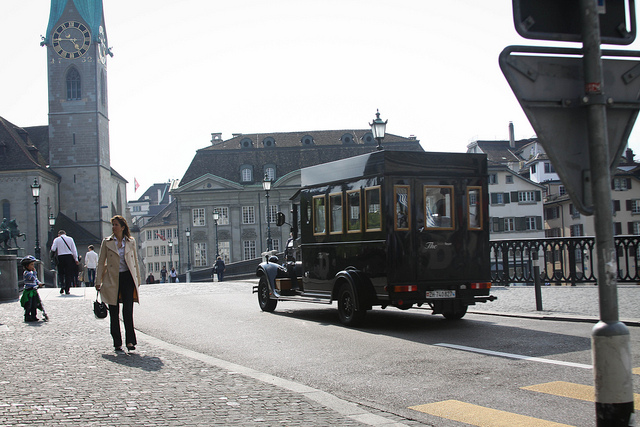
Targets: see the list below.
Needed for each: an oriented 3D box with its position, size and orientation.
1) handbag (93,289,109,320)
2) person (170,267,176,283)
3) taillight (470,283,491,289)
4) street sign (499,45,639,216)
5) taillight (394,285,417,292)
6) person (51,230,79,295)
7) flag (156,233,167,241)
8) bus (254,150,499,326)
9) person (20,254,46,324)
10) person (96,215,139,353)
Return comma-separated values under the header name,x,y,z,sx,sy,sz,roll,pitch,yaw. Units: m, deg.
name,x,y,z,sx,sy,sz,roll,pitch,yaw
handbag,-3.714,1.544,11.110,0.232,0.512,0.638,0,-4,-18
person,-13.484,5.662,59.895,0.509,1.226,2.934,-1,-4,-13
taillight,3.343,1.511,13.537,0.499,0.131,0.071,1,-5,-31
street sign,2.149,-0.705,5.287,1.230,1.418,0.500,-1,-4,-14
taillight,1.715,1.514,13.033,0.490,0.122,0.029,0,-4,-18
person,-9.197,1.781,23.590,0.847,2.237,1.259,0,-4,-21
flag,-30.531,4.408,126.001,1.515,1.284,2.213,-1,-4,-14
bus,1.161,0.606,15.918,3.270,3.087,6.278,1,-1,-31
person,-6.668,1.722,15.128,0.439,1.492,2.350,0,-4,-24
person,-3.373,1.153,10.887,0.666,2.232,0.593,-1,-4,-16
